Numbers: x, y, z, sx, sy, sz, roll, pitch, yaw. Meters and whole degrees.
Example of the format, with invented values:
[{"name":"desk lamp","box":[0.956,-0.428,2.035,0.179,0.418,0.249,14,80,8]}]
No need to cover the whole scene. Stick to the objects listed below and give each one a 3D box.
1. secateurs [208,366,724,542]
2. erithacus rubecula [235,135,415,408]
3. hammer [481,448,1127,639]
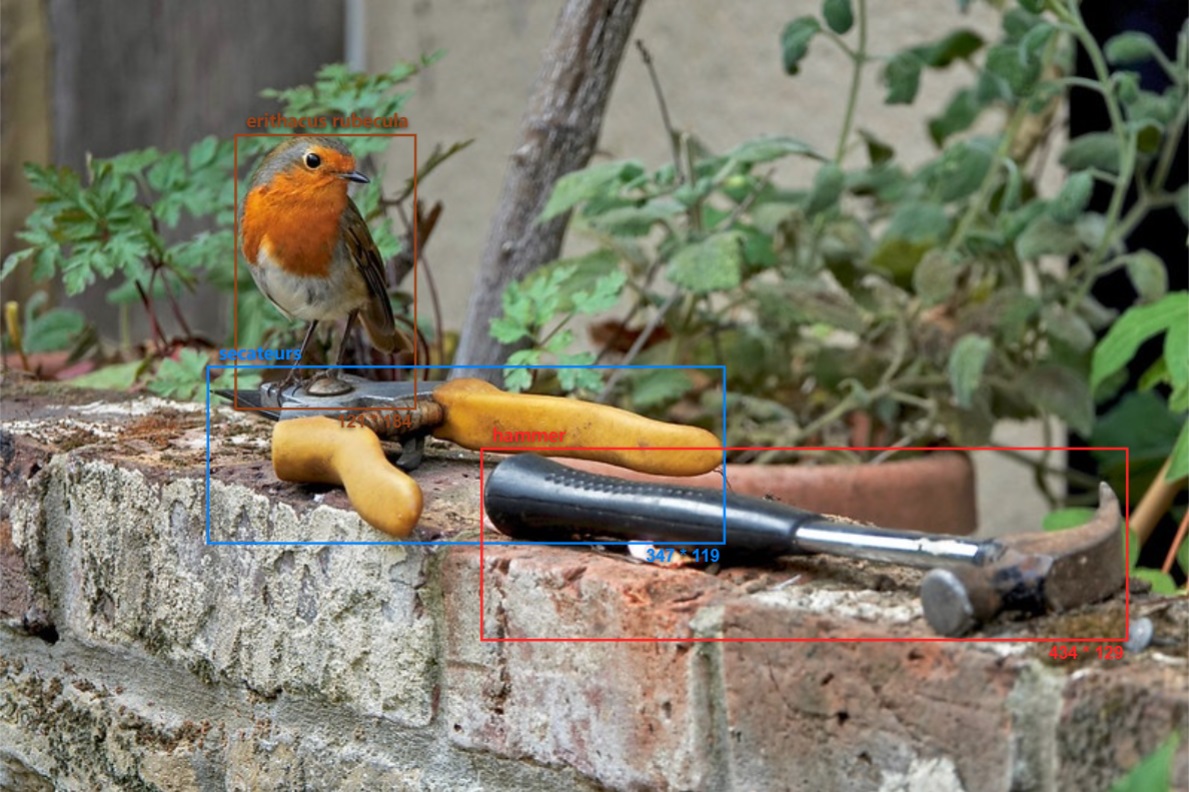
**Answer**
[{"name":"secateurs","box":[-0.132,0.017,2.304,0.421,0.078,0.261,7,16,39]},{"name":"erithacus rubecula","box":[-0.376,-0.205,2.489,0.167,0.388,0.294,9,21,11]},{"name":"hammer","box":[0.253,0.144,2.190,0.778,0.195,0.187,14,20,17]}]
